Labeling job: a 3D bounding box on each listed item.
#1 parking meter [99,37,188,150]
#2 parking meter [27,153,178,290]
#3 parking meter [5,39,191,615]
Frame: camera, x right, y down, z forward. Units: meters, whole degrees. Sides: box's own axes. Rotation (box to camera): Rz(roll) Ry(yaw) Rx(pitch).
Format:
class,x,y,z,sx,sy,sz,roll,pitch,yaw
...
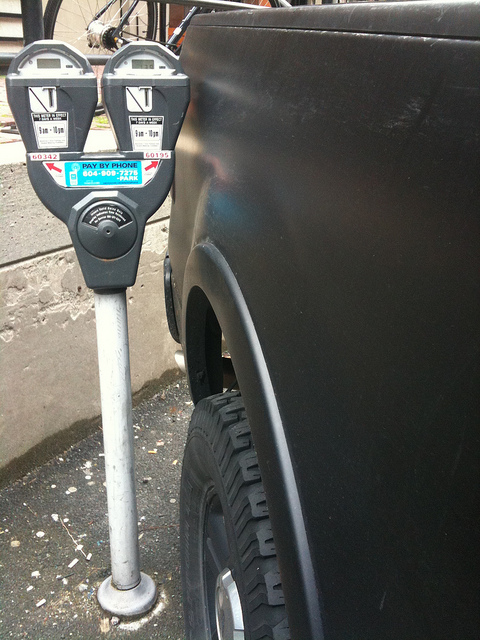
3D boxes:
class,x,y,z,sx,sy,sz,roll,pitch,yaw
parking meter,-0.211,-0.457,1.184,0.173,0.111,0.390,-1,67,-16
parking meter,-0.395,-0.262,1.405,0.241,0.337,0.067,-10,16,-29
parking meter,-0.298,0.125,1.429,0.436,1.576,0.300,-18,32,-35
